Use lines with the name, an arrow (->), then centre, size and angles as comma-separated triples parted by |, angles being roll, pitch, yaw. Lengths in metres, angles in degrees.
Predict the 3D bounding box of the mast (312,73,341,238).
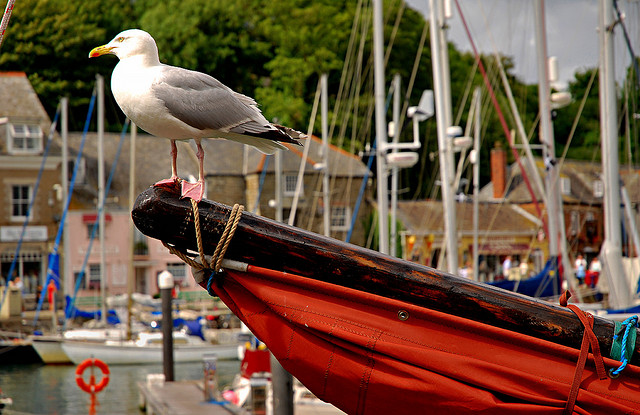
mast -> 0.068, -1.714, 53.931 | 1.141, 5.004, 1.155 | -6, 24, -18

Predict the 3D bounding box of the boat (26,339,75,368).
boat -> -5.325, 2.819, 33.153 | 1.140, 0.532, 0.699 | 8, -5, -40
